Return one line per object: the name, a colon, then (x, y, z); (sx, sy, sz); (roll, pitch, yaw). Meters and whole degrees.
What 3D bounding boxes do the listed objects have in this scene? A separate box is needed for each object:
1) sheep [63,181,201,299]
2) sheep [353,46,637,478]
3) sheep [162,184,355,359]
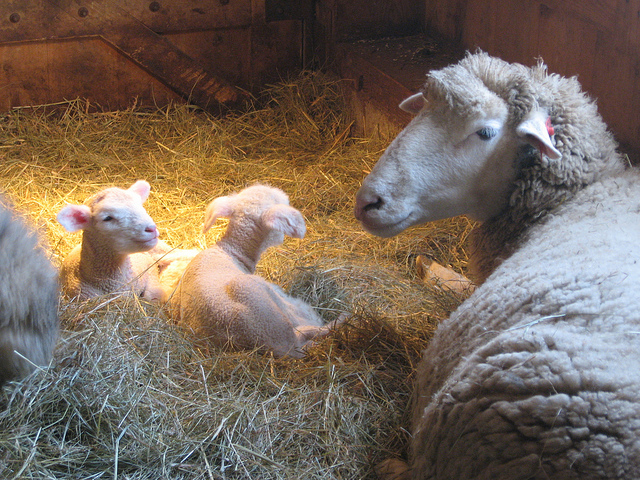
sheep: (-1.130, -0.003, 4.356); (0.542, 0.362, 0.767); (-15, 12, -25)
sheep: (0.786, 0.113, 3.443); (1.106, 1.654, 1.443); (14, 30, 29)
sheep: (-0.343, 0.160, 4.071); (0.884, 0.674, 0.801); (3, 22, -15)
